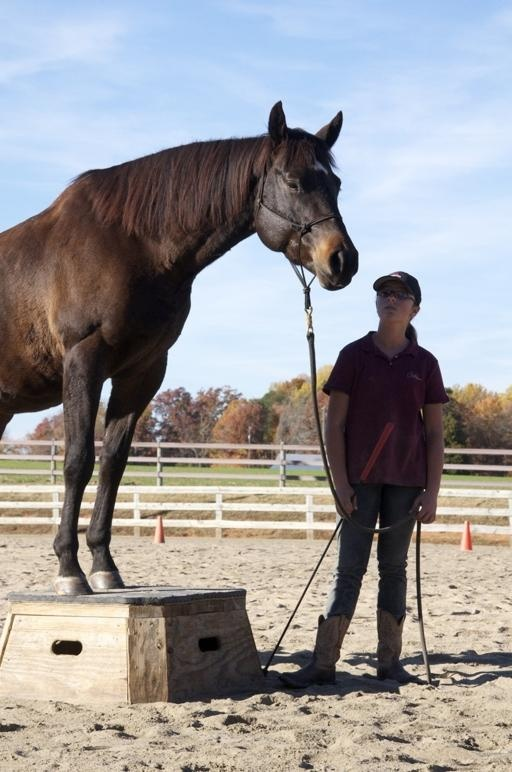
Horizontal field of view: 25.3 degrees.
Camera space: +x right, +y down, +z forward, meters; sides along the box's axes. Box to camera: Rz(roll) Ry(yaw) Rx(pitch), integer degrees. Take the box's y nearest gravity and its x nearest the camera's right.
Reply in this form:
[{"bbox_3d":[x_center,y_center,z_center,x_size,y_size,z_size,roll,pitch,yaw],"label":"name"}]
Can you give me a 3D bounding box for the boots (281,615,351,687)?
[{"bbox_3d":[0.262,1.212,5.250,0.296,0.329,0.191,1,0,-6],"label":"boots"}]
